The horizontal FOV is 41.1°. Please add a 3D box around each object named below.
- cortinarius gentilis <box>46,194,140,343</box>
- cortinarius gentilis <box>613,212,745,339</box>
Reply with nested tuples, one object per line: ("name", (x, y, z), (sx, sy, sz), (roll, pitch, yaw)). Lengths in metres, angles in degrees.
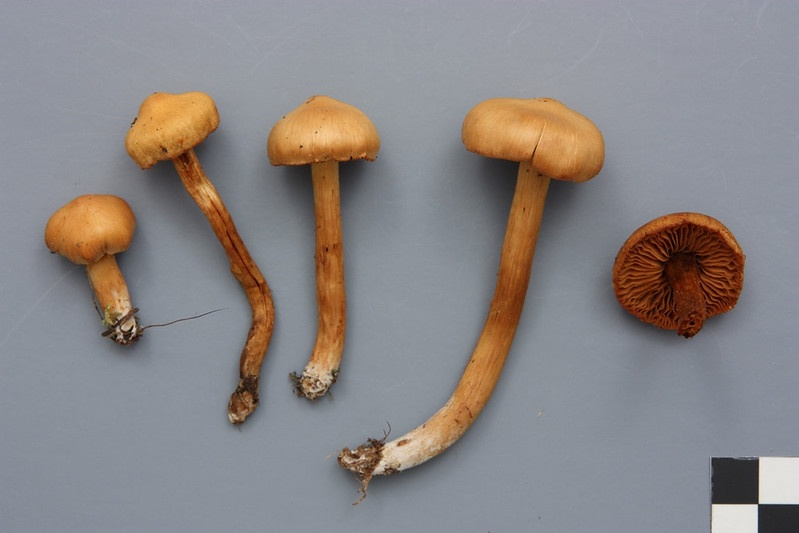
("cortinarius gentilis", (-1.786, 0.031, 6.215), (0.537, 0.897, 0.264), (-1, 0, -8))
("cortinarius gentilis", (1.574, 0.062, 6.080), (0.714, 0.675, 0.364), (-1, 0, 12))
